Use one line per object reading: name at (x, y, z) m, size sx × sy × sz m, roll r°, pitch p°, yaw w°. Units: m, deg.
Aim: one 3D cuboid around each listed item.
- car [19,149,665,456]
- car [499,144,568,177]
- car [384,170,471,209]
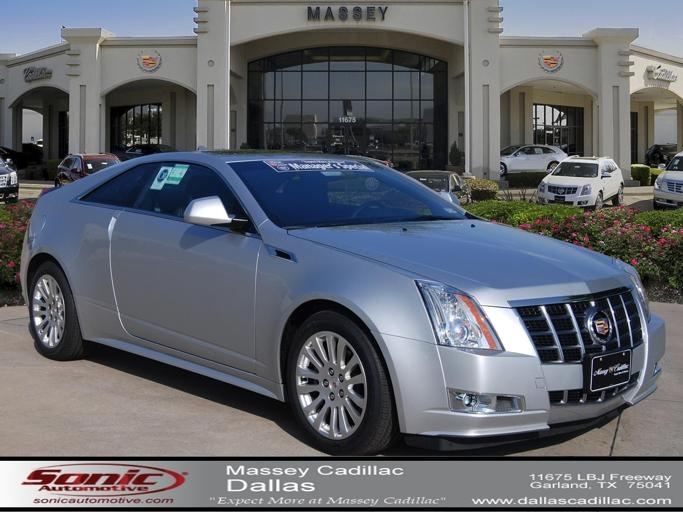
car at (-0.441, 0.223, 4.730) m, size 4.761 × 1.478 × 2.278 m, roll 7°, pitch 8°, yaw 38°
car at (11.806, -5.933, 36.568) m, size 4.608 × 1.544 × 2.121 m, roll 2°, pitch 6°, yaw -2°
car at (2.871, -2.231, 17.922) m, size 2.104 × 1.678 × 3.685 m, roll 3°, pitch 1°, yaw 13°
